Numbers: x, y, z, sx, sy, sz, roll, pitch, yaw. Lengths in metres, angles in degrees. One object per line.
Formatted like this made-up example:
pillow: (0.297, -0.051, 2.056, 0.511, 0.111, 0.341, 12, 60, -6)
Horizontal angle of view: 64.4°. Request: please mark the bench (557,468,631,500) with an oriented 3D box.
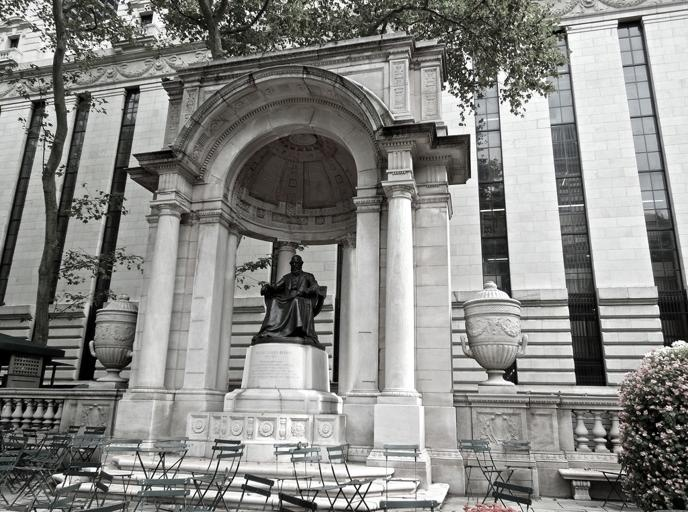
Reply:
bench: (6.708, 6.062, 14.457, 1.911, 0.724, 1.113, 0, -7, 5)
